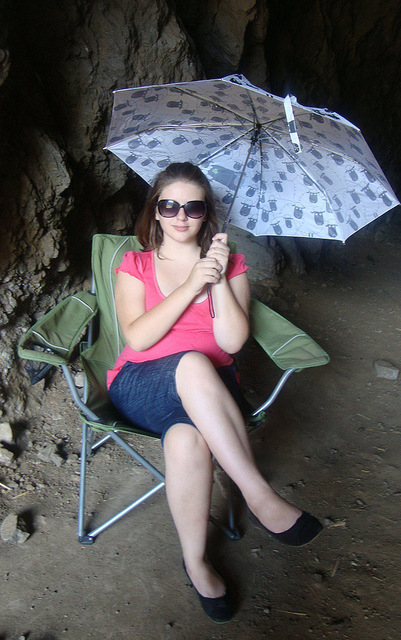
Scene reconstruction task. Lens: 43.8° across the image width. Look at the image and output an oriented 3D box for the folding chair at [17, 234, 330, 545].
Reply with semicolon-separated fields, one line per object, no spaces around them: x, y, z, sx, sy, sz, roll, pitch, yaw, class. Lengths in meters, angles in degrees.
-0.063;0.213;1.816;0.986;0.840;0.996;7;17;3;folding chair
